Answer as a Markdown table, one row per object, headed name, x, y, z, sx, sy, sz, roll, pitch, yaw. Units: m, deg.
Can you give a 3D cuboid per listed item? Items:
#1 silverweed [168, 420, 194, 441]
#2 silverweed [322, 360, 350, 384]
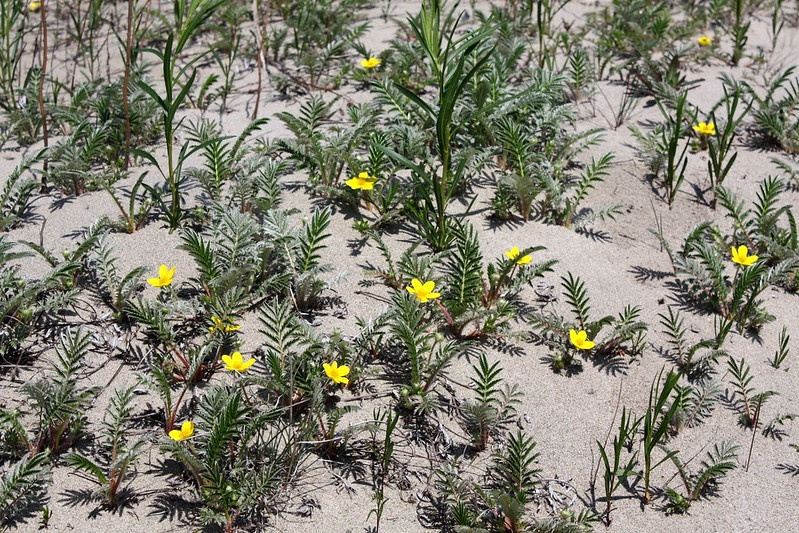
| name | x | y | z | sx | sy | sz | roll | pitch | yaw |
| --- | --- | --- | --- | --- | --- | --- | --- | --- | --- |
| silverweed | -1.349 | 1.037 | 4.973 | 0.116 | 0.080 | 0.143 | -12 | -22 | -1 |
| silverweed | -0.412 | 0.709 | 5.256 | 0.151 | 0.073 | 0.158 | -4 | 53 | -38 |
